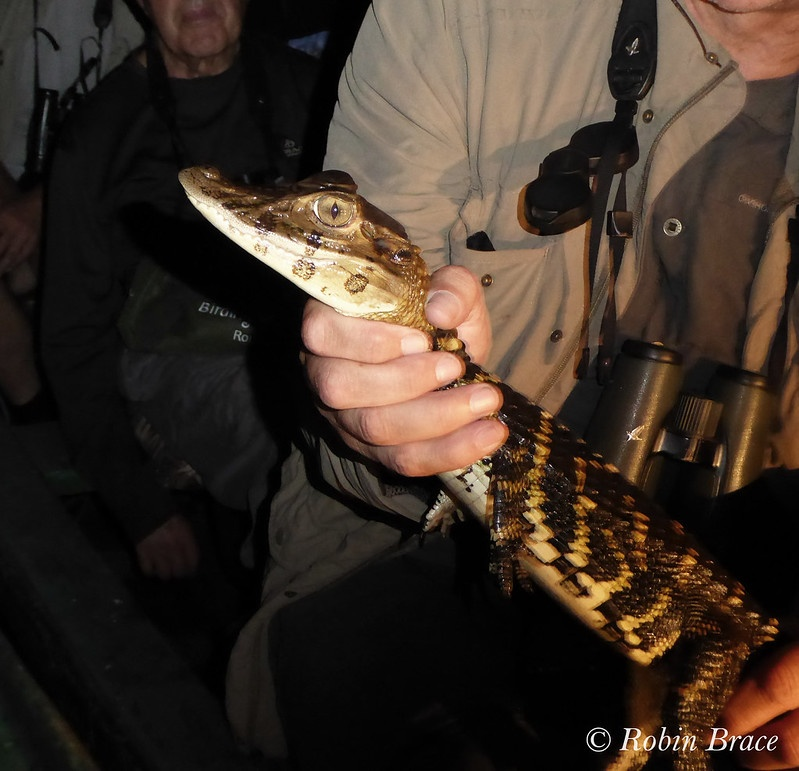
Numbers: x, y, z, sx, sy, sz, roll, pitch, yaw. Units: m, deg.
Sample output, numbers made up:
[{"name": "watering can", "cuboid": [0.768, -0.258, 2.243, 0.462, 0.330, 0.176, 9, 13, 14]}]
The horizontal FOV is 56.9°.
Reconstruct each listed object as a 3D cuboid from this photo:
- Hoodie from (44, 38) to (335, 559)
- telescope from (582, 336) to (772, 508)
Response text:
[{"name": "Hoodie", "cuboid": [-0.994, -0.486, 3.118, 1.685, 1.862, 0.531, -2, 11, -19]}, {"name": "telescope", "cuboid": [0.802, 0.144, 2.101, 0.576, 0.174, 0.470, 1, 80, -7]}]
